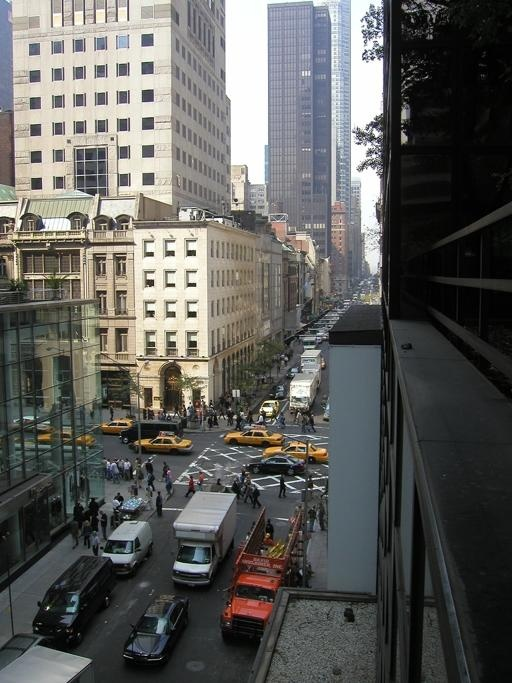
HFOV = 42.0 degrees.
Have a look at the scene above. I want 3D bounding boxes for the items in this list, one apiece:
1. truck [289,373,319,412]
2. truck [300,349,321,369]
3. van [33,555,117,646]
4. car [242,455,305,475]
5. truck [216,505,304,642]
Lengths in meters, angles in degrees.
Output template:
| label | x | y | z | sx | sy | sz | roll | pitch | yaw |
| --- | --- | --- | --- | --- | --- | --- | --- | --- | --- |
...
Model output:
| label | x | y | z | sx | sy | sz | roll | pitch | yaw |
| --- | --- | --- | --- | --- | --- | --- | --- | --- | --- |
| truck | 3.944 | 4.056 | 57.568 | 1.233 | 1.706 | 4.450 | 1 | 19 | 8 |
| truck | 5.763 | 1.982 | 73.149 | 1.241 | 2.235 | 4.372 | 2 | 17 | 10 |
| van | -5.603 | 8.085 | 20.666 | 1.050 | 1.219 | 2.615 | 1 | 1 | 3 |
| car | 1.221 | 7.317 | 39.869 | 2.778 | 1.101 | 1.459 | 4 | 1 | 4 |
| truck | 0.291 | 7.651 | 21.688 | 1.152 | 1.898 | 5.069 | -2 | -2 | 8 |
